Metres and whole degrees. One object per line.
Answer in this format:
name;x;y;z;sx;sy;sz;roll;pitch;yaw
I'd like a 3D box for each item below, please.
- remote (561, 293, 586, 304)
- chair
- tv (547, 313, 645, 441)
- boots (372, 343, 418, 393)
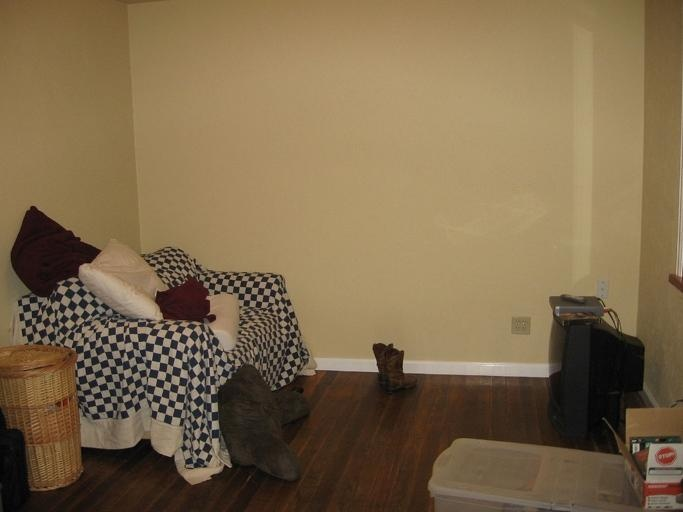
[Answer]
remote;1.370;0.254;3.210;0.150;0.029;0.092;6;13;34
chair;-1.067;0.530;3.640;1.365;0.891;1.699;6;14;24
tv;1.477;0.655;3.357;0.570;0.716;0.704;-1;4;10
boots;0.343;0.751;3.830;0.292;0.364;0.284;-7;8;-36
